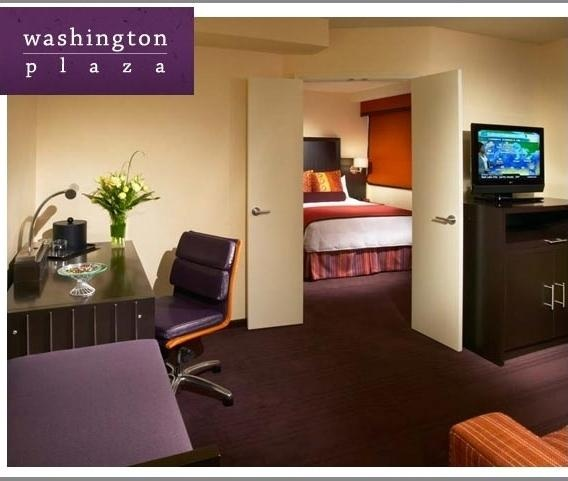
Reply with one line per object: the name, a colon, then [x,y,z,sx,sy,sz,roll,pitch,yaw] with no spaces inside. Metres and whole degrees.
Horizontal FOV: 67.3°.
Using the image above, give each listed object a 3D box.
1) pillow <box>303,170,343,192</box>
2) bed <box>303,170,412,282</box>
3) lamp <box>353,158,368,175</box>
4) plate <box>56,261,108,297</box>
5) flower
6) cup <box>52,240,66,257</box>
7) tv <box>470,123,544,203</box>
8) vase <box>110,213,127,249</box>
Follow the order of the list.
pillow: [0.653,-0.962,7.015,0.631,0.497,0.208,-3,-8,-18]
bed: [0.902,-0.034,5.784,1.547,0.736,1.385,-2,10,-10]
lamp: [1.319,-1.295,7.463,0.218,0.272,0.230,0,3,-4]
plate: [-0.954,0.160,2.052,0.169,0.106,0.182,4,0,8]
flower: [-1.122,-0.298,2.944,0.410,0.655,0.468,14,7,14]
cup: [-1.370,0.039,2.628,0.074,0.104,0.096,1,-3,42]
tv: [1.710,-0.602,3.285,0.572,0.465,0.188,-3,8,-19]
vase: [-1.177,-0.072,2.965,0.140,0.258,0.138,-6,-6,40]
